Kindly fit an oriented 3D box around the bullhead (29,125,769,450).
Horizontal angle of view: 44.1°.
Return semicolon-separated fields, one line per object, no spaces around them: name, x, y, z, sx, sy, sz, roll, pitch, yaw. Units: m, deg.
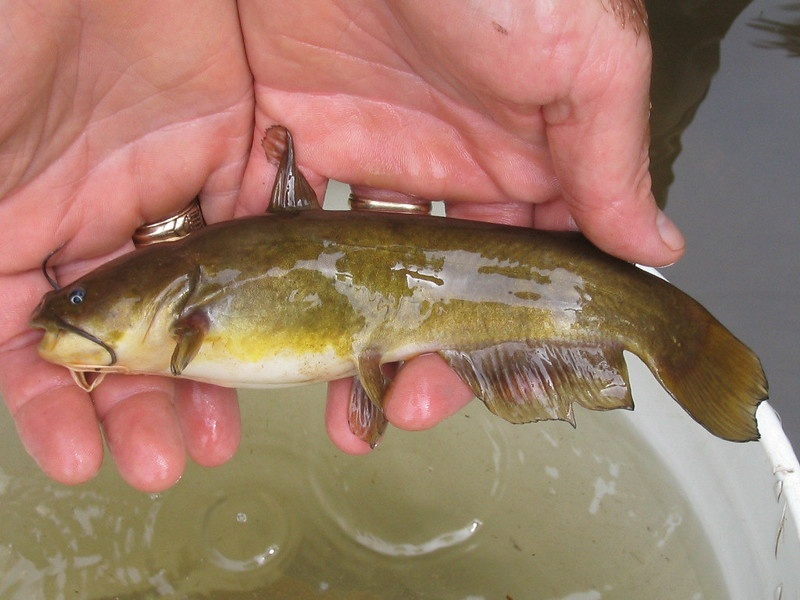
bullhead;0.013;0.017;3.661;2.731;0.525;0.937;2;98;4
